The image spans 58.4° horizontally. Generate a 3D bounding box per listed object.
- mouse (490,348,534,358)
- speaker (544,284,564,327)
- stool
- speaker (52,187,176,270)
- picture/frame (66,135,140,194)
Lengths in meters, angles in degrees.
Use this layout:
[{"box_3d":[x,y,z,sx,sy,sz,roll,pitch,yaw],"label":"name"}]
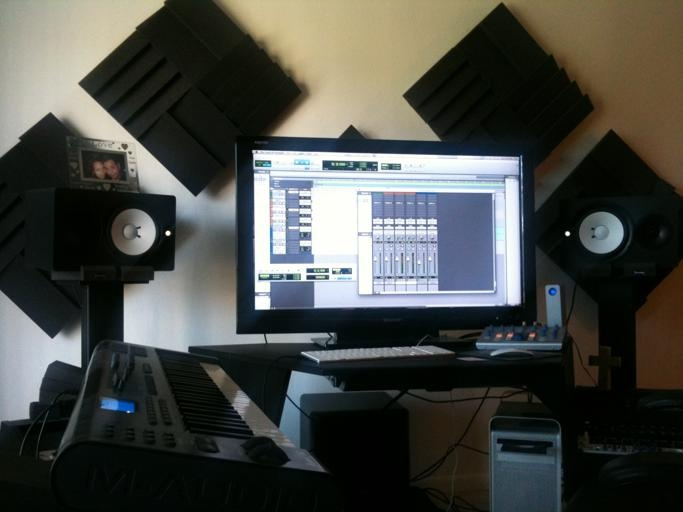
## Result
[{"box_3d":[0.478,0.273,1.726,0.073,0.018,0.044,1,0,6],"label":"mouse"},{"box_3d":[0.663,0.154,1.905,0.048,0.128,0.070,0,-6,19],"label":"speaker"},{"box_3d":[0.041,0.573,1.963,0.268,0.284,0.279,-2,3,14],"label":"stool"},{"box_3d":[-0.715,-0.085,1.928,0.381,0.271,0.218,1,-1,-34],"label":"speaker"},{"box_3d":[-0.792,-0.294,2.015,0.227,0.190,0.024,2,-18,-24],"label":"picture/frame"}]
